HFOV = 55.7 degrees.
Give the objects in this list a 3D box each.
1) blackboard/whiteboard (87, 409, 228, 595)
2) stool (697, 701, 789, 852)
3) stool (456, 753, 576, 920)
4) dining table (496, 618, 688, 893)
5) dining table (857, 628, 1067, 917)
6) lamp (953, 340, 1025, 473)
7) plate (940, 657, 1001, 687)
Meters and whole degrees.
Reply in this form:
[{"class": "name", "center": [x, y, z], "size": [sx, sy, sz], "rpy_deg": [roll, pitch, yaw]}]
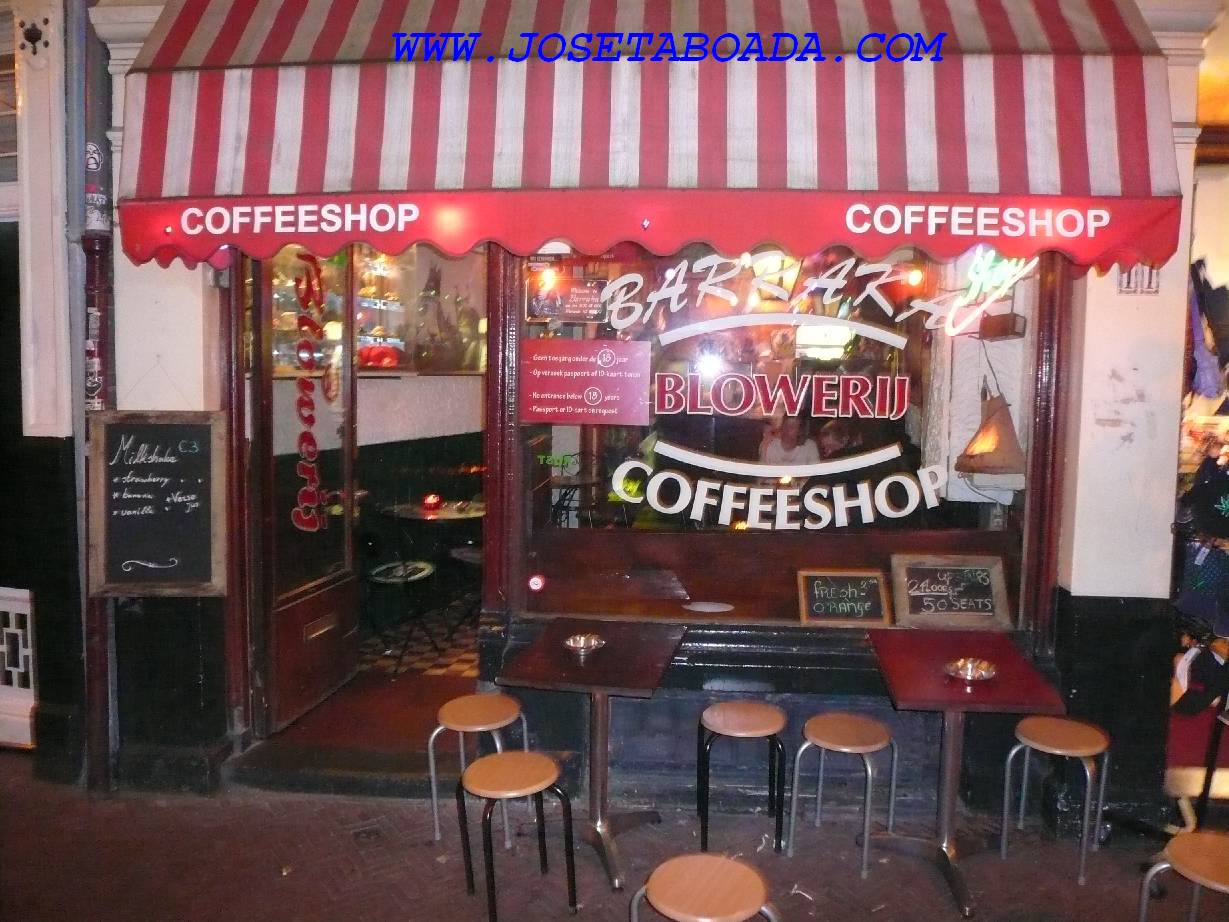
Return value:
[{"class": "blackboard/whiteboard", "center": [-3.084, 0.294, 7.820], "size": [1.256, 1.680, 0.124], "rpy_deg": [0, -1, -3]}, {"class": "stool", "center": [0.824, 2.004, 7.534], "size": [0.575, 0.931, 0.905], "rpy_deg": [-1, 3, 4]}, {"class": "stool", "center": [-0.590, 2.202, 7.141], "size": [0.710, 0.920, 1.133], "rpy_deg": [-2, 3, -8]}, {"class": "dining table", "center": [-0.093, 1.731, 7.491], "size": [1.145, 1.393, 1.547], "rpy_deg": [3, 21, 6]}, {"class": "dining table", "center": [2.188, 1.942, 7.513], "size": [1.426, 1.413, 1.551], "rpy_deg": [1, 10, 4]}, {"class": "lamp", "center": [2.494, -0.356, 7.731], "size": [0.428, 0.883, 0.203], "rpy_deg": [-1, 3, 13]}, {"class": "plate", "center": [2.160, 1.269, 7.054], "size": [0.291, 0.103, 0.418], "rpy_deg": [2, 4, 42]}]
